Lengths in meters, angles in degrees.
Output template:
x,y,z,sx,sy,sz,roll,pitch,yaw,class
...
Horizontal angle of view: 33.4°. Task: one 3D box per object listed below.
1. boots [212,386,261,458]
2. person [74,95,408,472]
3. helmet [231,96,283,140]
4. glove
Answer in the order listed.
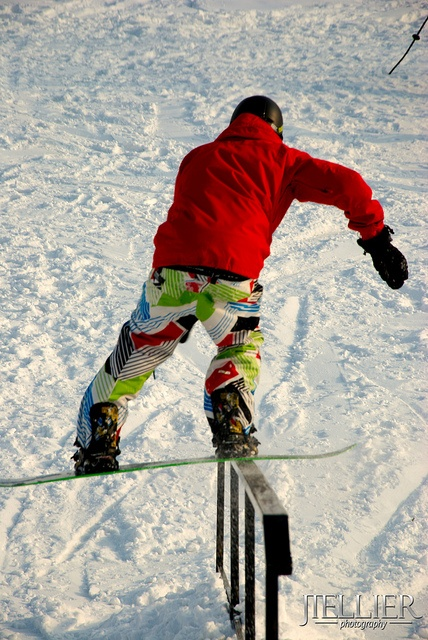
x,y,z,sx,sy,sz,roll,pitch,yaw,class
0.088,0.404,2.845,0.226,0.258,0.132,2,-7,-13,boots
0.001,-0.114,2.913,1.407,1.264,0.813,-28,40,-30,person
0.212,-0.899,3.162,0.186,0.199,0.235,10,5,29,helmet
0.722,-0.264,3.096,0.197,0.288,0.116,-35,19,3,glove
